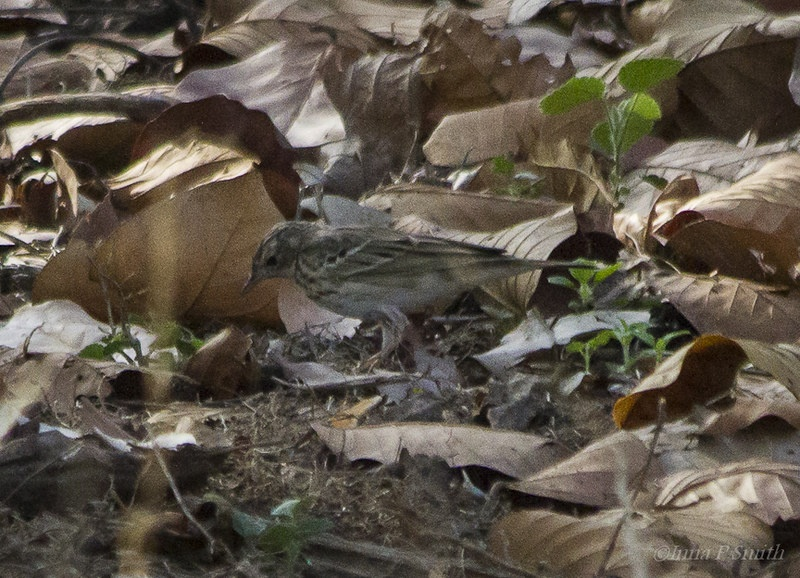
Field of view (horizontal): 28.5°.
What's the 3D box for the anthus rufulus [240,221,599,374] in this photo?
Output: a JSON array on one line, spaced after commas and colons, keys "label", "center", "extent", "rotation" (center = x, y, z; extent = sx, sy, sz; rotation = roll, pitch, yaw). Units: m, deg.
[{"label": "anthus rufulus", "center": [-0.038, 0.003, 4.317], "extent": [1.248, 0.455, 0.347], "rotation": [-4, 4, 12]}]
